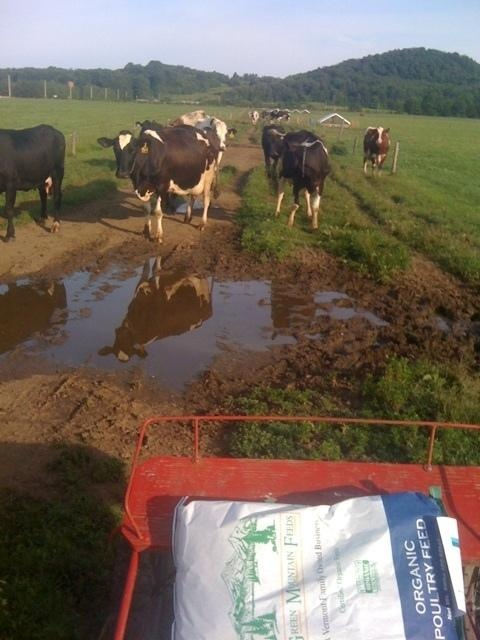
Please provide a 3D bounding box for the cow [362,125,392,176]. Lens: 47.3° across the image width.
[{"bbox_3d":[6.008,-7.283,23.687,0.731,2.018,3.042,4,17,13],"label":"cow"}]
